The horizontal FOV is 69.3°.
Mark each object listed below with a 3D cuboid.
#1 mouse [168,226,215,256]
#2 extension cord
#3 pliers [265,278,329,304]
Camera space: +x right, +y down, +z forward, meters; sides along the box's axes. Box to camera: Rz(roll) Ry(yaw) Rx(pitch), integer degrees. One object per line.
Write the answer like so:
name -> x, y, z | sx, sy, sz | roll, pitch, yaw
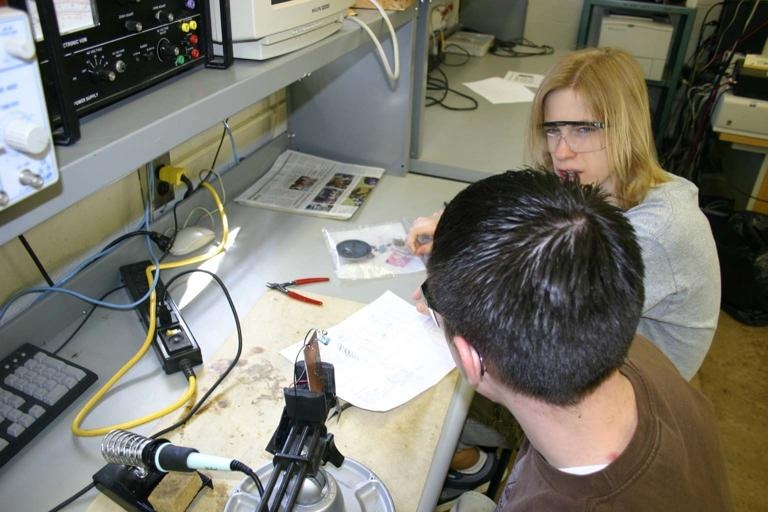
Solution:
mouse -> -0.595, -0.056, 1.704 | 0.108, 0.036, 0.071 | -29, 38, -31
extension cord -> -0.598, 0.145, 1.469 | 0.094, 0.092, 0.432 | -24, 47, -27
pliers -> -0.247, 0.109, 1.611 | 0.114, 0.017, 0.084 | 6, 27, 0
